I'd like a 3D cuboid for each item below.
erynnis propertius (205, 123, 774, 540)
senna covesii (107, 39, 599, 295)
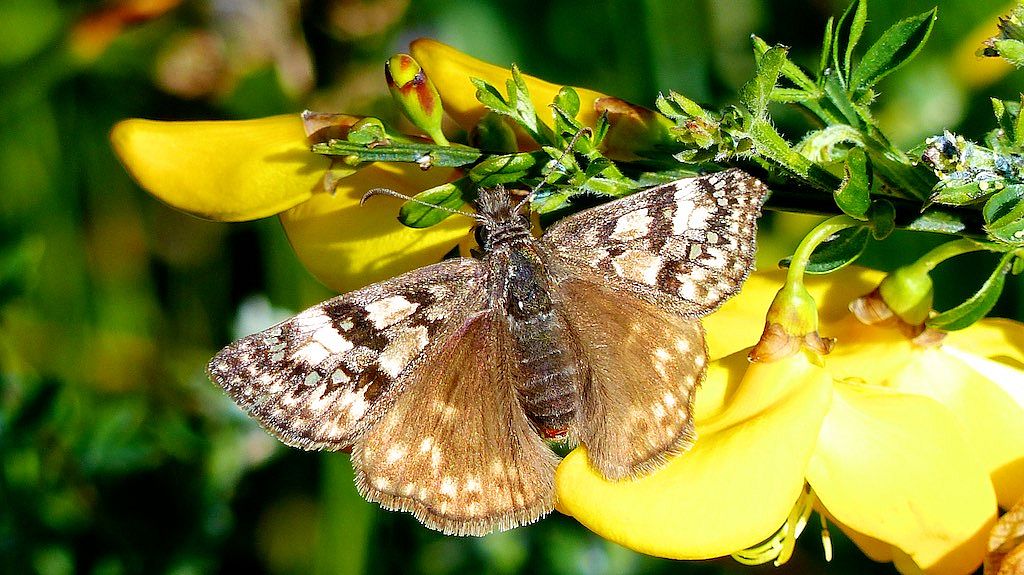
[{"bbox_3d":[0.034,-0.091,2.328,1.031,0.787,0.819,-2,104,6],"label":"erynnis propertius"},{"bbox_3d":[-0.305,-0.259,1.997,0.781,0.333,0.447,-28,63,-8],"label":"senna covesii"}]
